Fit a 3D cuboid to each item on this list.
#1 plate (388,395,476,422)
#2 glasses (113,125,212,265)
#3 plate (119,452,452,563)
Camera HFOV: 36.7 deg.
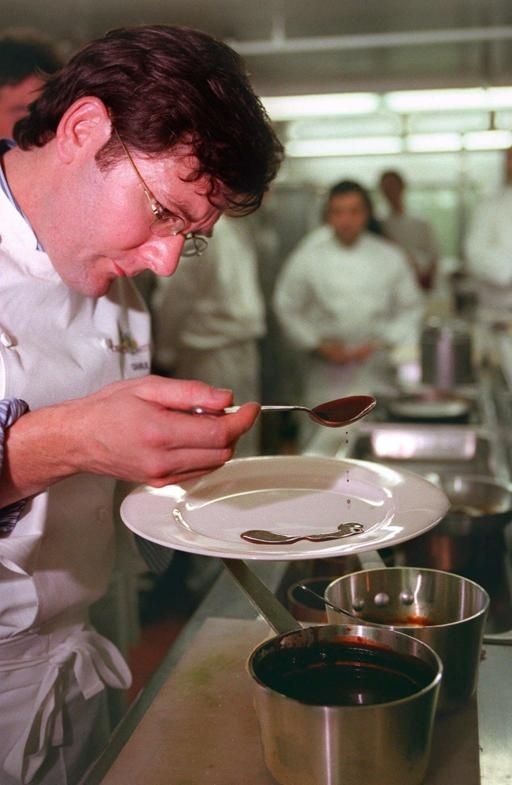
[{"bbox_3d":[0.493,0.047,2.230,0.164,0.024,0.098,0,32,19],"label":"plate"},{"bbox_3d":[-0.134,-0.262,1.026,0.039,0.116,0.118,-35,-17,12],"label":"glasses"},{"bbox_3d":[0.023,0.147,1.012,0.259,0.021,0.238,-3,8,-25],"label":"plate"}]
